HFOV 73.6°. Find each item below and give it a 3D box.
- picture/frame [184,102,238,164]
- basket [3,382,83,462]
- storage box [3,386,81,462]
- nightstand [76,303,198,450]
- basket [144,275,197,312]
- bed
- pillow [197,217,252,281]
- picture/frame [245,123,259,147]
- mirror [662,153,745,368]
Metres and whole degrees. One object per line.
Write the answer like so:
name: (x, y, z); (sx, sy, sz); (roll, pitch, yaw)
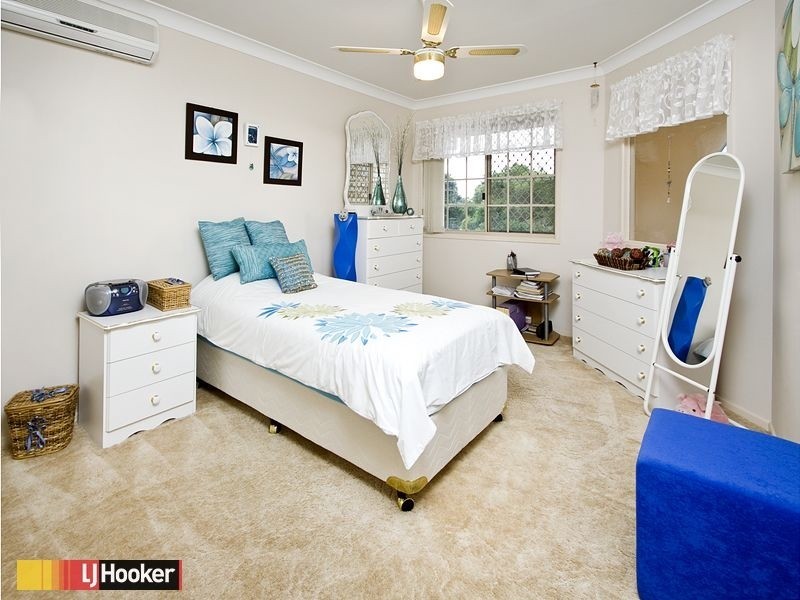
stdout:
picture/frame: (-1.551, -1.355, 4.322); (0.020, 0.512, 0.483); (10, 14, 41)
basket: (-2.283, 0.772, 3.382); (0.341, 0.380, 0.426); (-2, 10, -36)
storage box: (-2.270, 0.772, 3.384); (0.339, 0.380, 0.427); (-2, 10, -37)
nightstand: (-1.860, 0.465, 3.781); (0.541, 0.804, 0.728); (12, 17, 42)
basket: (-1.638, -0.036, 3.813); (0.215, 0.171, 0.296); (-7, 13, -38)
bed: (-0.191, 0.335, 4.262); (2.462, 1.046, 2.034); (11, 17, 37)
pillow: (-1.435, -0.434, 4.311); (0.133, 0.464, 0.450); (-14, 2, 36)
picture/frame: (-1.286, -1.428, 4.601); (0.030, 0.231, 0.188); (8, 10, 31)
mirror: (2.093, -0.293, 3.718); (0.398, 1.416, 0.432); (11, 17, 42)
